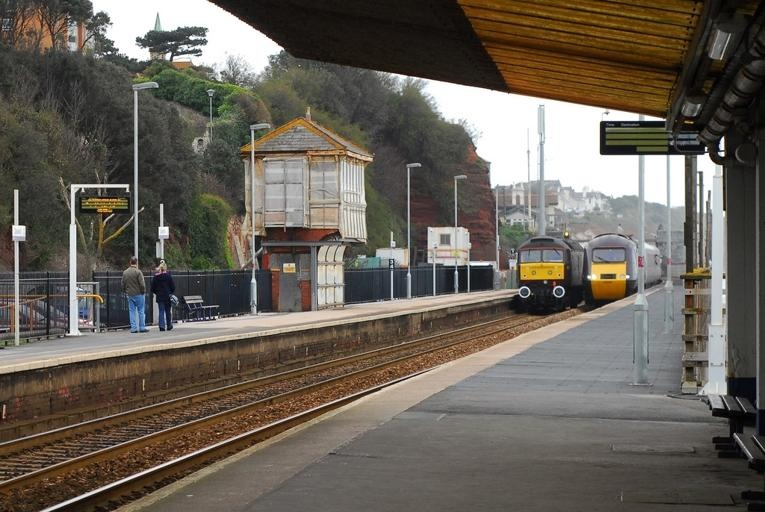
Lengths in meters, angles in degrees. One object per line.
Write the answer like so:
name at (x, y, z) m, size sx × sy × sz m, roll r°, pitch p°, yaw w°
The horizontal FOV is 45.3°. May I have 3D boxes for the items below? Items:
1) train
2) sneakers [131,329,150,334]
train at (10.880, 0.944, 50.698) m, size 5.759 × 2.895 × 8.131 m, roll -2°, pitch -1°, yaw 26°
sneakers at (-7.149, 2.232, 27.071) m, size 0.489 × 0.226 × 0.170 m, roll -3°, pitch -1°, yaw -5°
